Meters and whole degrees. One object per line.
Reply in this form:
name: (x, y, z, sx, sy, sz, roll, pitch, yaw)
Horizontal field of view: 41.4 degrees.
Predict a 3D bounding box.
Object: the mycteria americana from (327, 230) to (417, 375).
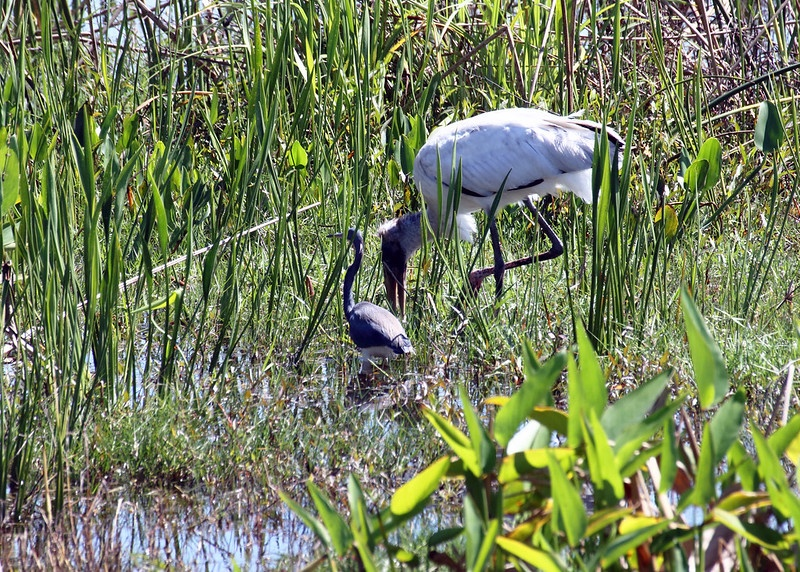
mycteria americana: (-0.114, 0.079, 4.351, 0.264, 0.582, 0.461, -4, 10, -35)
